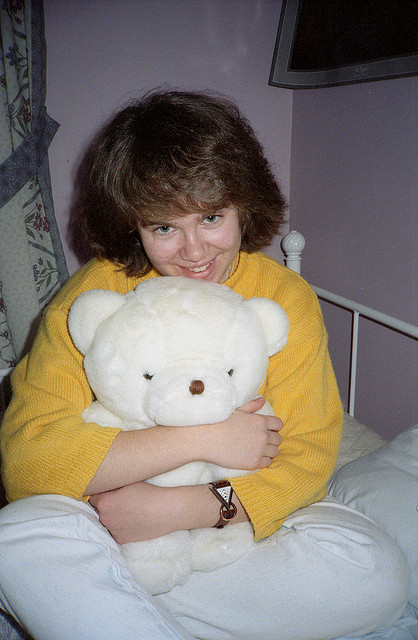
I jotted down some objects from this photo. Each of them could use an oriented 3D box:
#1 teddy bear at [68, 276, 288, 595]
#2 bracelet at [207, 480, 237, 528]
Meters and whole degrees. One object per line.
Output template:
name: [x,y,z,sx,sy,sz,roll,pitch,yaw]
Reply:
teddy bear: [-0.036,0.159,0.883,0.337,0.396,0.258,-5,15,-23]
bracelet: [0.023,0.284,0.896,0.053,0.061,0.024,4,-7,-44]
